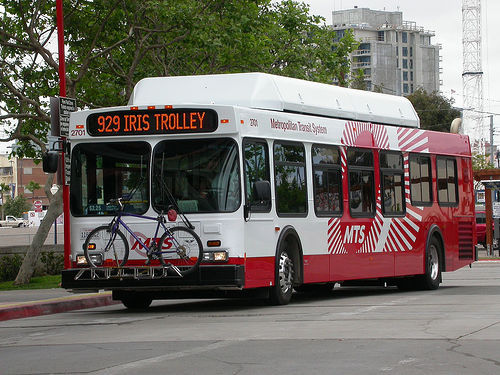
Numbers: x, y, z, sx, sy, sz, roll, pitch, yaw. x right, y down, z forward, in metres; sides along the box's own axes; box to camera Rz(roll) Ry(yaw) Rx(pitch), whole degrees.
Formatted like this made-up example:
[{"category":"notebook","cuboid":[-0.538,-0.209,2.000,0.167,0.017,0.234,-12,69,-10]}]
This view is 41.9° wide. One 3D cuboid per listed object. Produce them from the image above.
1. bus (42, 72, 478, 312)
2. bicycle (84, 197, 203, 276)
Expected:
[{"category":"bus","cuboid":[1.717,0.109,16.192,3.935,4.495,11.859,-4,-4,39]},{"category":"bicycle","cuboid":[-1.901,0.883,11.667,2.112,1.280,0.953,2,1,1]}]
